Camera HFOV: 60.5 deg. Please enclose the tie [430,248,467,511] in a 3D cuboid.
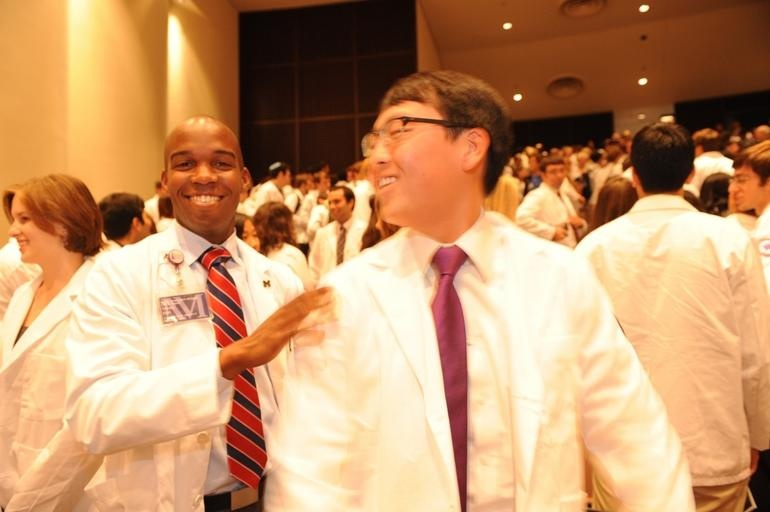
[{"bbox_3d":[0.270,0.486,2.814,0.146,1.039,0.090,8,-18,-20],"label":"tie"}]
